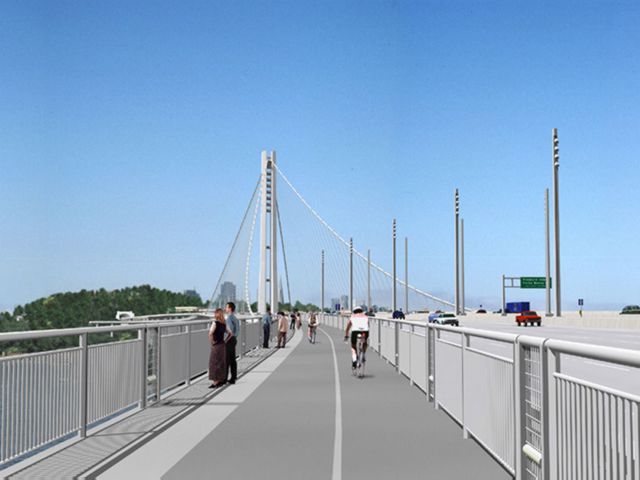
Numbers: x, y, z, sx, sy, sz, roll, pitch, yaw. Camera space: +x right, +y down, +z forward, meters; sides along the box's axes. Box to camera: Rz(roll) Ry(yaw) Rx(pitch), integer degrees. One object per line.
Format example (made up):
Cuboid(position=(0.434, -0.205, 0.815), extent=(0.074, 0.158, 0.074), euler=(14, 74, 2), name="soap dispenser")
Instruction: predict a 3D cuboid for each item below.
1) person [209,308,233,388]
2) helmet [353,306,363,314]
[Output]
Cuboid(position=(-2.511, 2.657, 14.133), extent=(0.481, 1.916, 0.669), euler=(0, -4, -12), name="person")
Cuboid(position=(1.128, 2.057, 16.809), extent=(0.176, 0.301, 0.215), euler=(-2, -2, -3), name="helmet")
